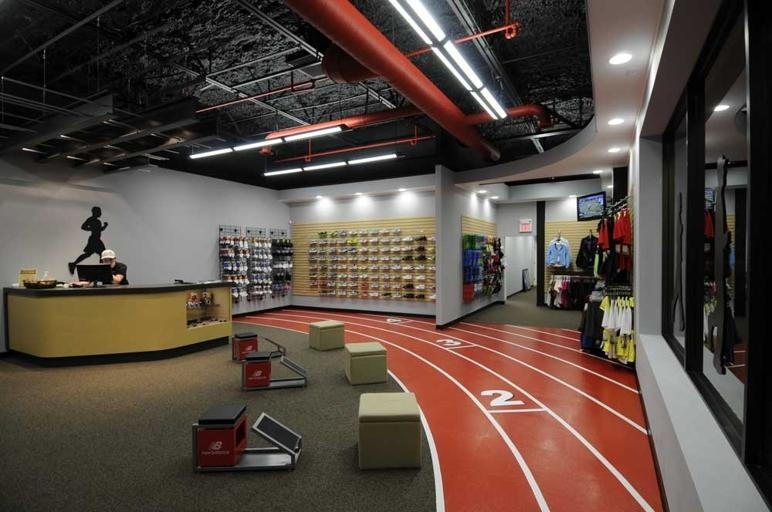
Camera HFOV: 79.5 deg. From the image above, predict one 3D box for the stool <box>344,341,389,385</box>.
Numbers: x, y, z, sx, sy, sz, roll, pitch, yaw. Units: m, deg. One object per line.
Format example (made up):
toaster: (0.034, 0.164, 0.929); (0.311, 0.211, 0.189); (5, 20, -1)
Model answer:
stool: (-0.357, 1.810, 7.862); (0.800, 0.547, 0.837); (-1, 0, 10)

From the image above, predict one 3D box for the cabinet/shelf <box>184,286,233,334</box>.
cabinet/shelf: (-3.999, 1.146, 10.294); (0.654, 0.863, 0.886); (-3, -5, -22)

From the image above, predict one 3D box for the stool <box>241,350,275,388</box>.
stool: (-2.108, 1.934, 7.537); (0.505, 0.519, 0.441); (-3, -23, -11)

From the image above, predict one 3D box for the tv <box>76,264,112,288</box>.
tv: (-5.687, 0.364, 8.916); (0.574, 0.406, 0.137); (3, 2, 2)

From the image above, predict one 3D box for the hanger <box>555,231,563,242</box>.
hanger: (5.587, -0.639, 14.885); (0.206, 0.278, 0.340); (4, 12, 21)

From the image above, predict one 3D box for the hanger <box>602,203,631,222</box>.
hanger: (4.209, -0.820, 8.435); (0.373, 0.115, 0.276); (-35, 7, -9)

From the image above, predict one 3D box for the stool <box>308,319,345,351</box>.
stool: (-1.268, 1.635, 9.744); (0.609, 0.595, 0.609); (-6, -6, 38)

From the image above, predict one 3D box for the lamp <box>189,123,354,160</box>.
lamp: (-2.404, -2.362, 9.300); (3.153, 0.131, 0.435); (-13, 38, -12)

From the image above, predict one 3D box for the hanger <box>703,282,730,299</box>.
hanger: (3.379, 0.348, 4.720); (0.223, 0.226, 0.163); (-2, -8, 31)

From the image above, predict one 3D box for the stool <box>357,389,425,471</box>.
stool: (0.034, 2.102, 5.625); (0.720, 0.599, 0.716); (0, -2, 1)

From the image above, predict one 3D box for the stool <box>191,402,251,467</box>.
stool: (-2.029, 2.199, 5.742); (0.547, 0.569, 0.714); (1, 0, -9)

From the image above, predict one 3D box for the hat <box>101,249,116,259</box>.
hat: (-5.781, -0.036, 9.562); (0.287, 0.190, 0.372); (-2, 1, -28)
